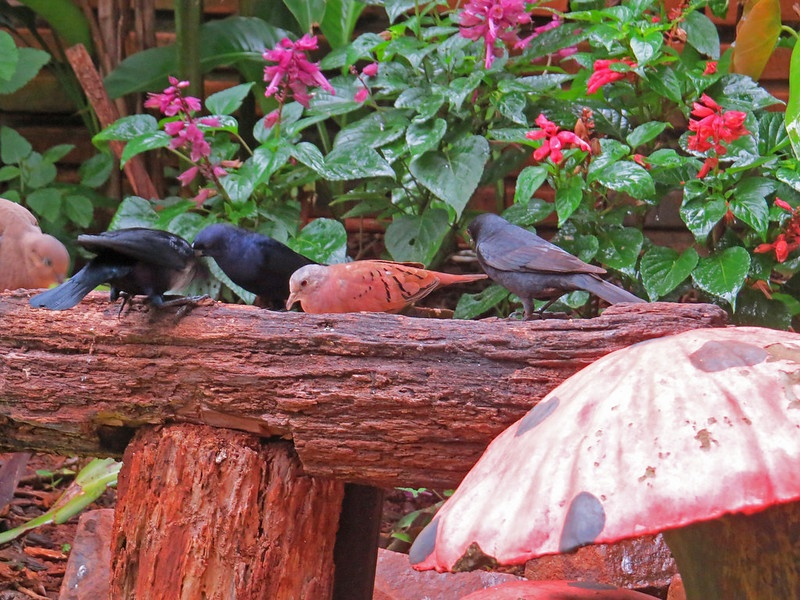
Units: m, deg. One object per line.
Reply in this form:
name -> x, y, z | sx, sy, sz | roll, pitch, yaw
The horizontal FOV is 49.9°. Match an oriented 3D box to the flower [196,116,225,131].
flower -> -0.864, -0.803, 3.875 | 0.111, 0.056, 0.135 | -3, 20, -22

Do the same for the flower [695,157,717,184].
flower -> 1.271, -0.540, 3.578 | 0.049, 0.044, 0.133 | 41, 42, 4

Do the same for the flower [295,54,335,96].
flower -> -0.366, -0.973, 3.732 | 0.213, 0.077, 0.083 | 33, -22, -33

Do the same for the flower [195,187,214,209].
flower -> -0.921, -0.481, 4.073 | 0.103, 0.130, 0.191 | -1, 19, -13

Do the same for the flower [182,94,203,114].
flower -> -0.928, -0.870, 3.847 | 0.063, 0.076, 0.190 | 1, 18, -9

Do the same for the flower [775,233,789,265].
flower -> 1.622, -0.222, 3.655 | 0.090, 0.052, 0.145 | 3, 27, 11

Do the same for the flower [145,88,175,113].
flower -> -1.092, -0.906, 3.846 | 0.110, 0.107, 0.251 | -7, 21, -30

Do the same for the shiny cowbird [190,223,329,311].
shiny cowbird -> -0.585, -0.200, 3.754 | 0.481, 0.425, 0.395 | 6, 12, 35

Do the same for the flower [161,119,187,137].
flower -> -1.012, -0.765, 3.854 | 0.086, 0.081, 0.119 | -2, 19, -17

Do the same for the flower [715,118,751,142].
flower -> 1.325, -0.686, 3.433 | 0.048, 0.098, 0.098 | 33, 54, -14

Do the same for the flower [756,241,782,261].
flower -> 1.590, -0.212, 3.719 | 0.084, 0.042, 0.097 | 2, 10, 42

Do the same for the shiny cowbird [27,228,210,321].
shiny cowbird -> -0.993, -0.100, 3.039 | 0.589, 0.329, 0.294 | -4, 20, -24

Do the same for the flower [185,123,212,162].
flower -> -0.926, -0.726, 3.931 | 0.098, 0.180, 0.189 | -1, 19, -14

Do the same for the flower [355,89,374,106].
flower -> -0.172, -0.940, 3.985 | 0.063, 0.045, 0.072 | -7, 2, -24

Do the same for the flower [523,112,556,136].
flower -> 0.592, -0.720, 3.604 | 0.124, 0.102, 0.194 | 7, 18, 7

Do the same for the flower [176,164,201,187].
flower -> -0.982, -0.578, 4.009 | 0.081, 0.108, 0.210 | -1, 19, -14

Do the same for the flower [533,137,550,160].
flower -> 0.587, -0.619, 3.580 | 0.062, 0.101, 0.175 | 7, 18, 8

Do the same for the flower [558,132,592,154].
flower -> 0.734, -0.653, 3.589 | 0.074, 0.075, 0.226 | 0, -7, 33

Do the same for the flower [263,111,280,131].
flower -> -0.577, -0.805, 3.859 | 0.064, 0.098, 0.176 | 0, 19, -11

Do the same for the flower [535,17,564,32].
flower -> 0.716, -1.333, 4.175 | 0.119, 0.090, 0.246 | 7, 18, 7

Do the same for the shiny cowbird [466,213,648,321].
shiny cowbird -> 0.595, -0.148, 3.450 | 0.817, 0.462, 0.286 | -2, 4, 40

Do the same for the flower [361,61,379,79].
flower -> -0.131, -1.101, 4.138 | 0.081, 0.065, 0.104 | 17, 34, 36
